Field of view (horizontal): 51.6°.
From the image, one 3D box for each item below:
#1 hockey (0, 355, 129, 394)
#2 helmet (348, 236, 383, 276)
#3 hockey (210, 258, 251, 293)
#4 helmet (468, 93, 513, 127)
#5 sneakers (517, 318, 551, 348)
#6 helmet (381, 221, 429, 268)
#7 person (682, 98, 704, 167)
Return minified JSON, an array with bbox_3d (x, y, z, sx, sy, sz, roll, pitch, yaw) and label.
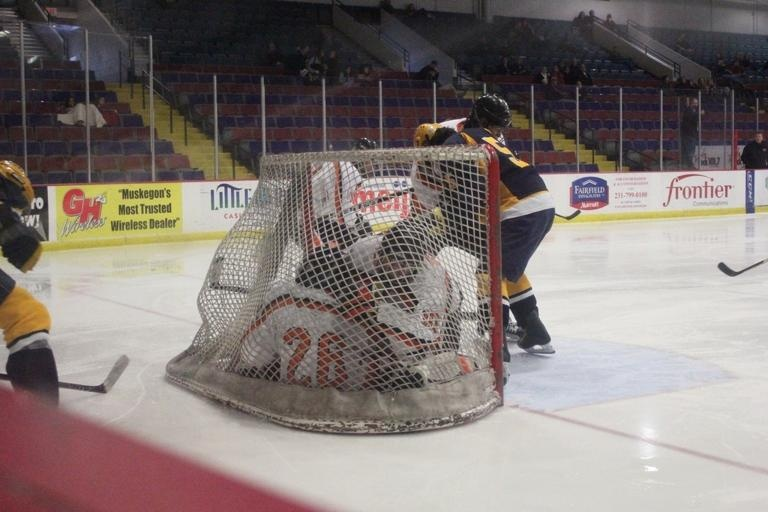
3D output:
[{"bbox_3d":[-1.850,0.758,4.874,0.391,0.096,0.364,0,18,3],"label":"hockey"},{"bbox_3d":[-0.130,0.008,4.562,0.182,0.181,0.215,2,2,-44],"label":"helmet"},{"bbox_3d":[-1.048,0.131,5.291,0.318,0.234,0.053,6,11,27],"label":"hockey"},{"bbox_3d":[0.742,-0.956,5.366,0.265,0.244,0.193,-17,43,-19],"label":"helmet"},{"bbox_3d":[1.055,0.560,5.728,0.264,0.248,0.165,-8,5,25],"label":"sneakers"},{"bbox_3d":[0.116,-0.076,4.613,0.270,0.252,0.154,2,9,0],"label":"helmet"},{"bbox_3d":[6.446,-2.570,16.635,0.517,1.447,0.216,-4,11,-32],"label":"person"}]
